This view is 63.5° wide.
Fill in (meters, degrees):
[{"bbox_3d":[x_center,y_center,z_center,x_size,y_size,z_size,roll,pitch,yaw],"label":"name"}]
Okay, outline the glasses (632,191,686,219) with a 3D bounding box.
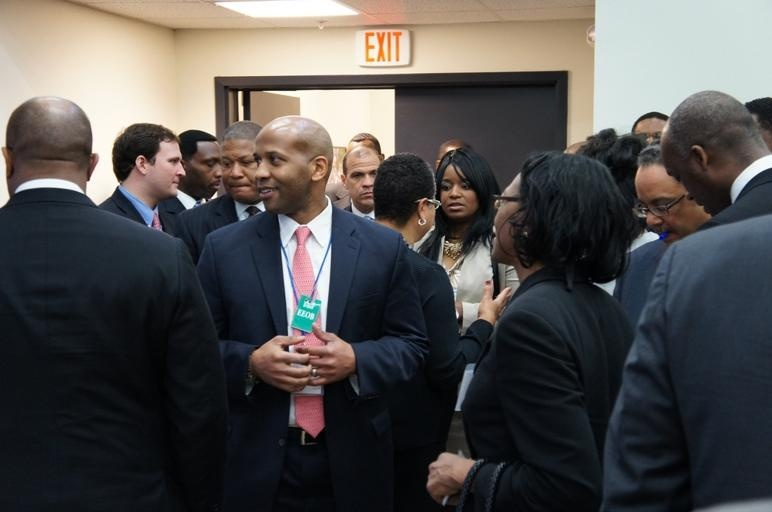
[{"bbox_3d":[1.163,-0.205,2.655,0.201,0.057,0.191,-21,1,-24],"label":"glasses"}]
